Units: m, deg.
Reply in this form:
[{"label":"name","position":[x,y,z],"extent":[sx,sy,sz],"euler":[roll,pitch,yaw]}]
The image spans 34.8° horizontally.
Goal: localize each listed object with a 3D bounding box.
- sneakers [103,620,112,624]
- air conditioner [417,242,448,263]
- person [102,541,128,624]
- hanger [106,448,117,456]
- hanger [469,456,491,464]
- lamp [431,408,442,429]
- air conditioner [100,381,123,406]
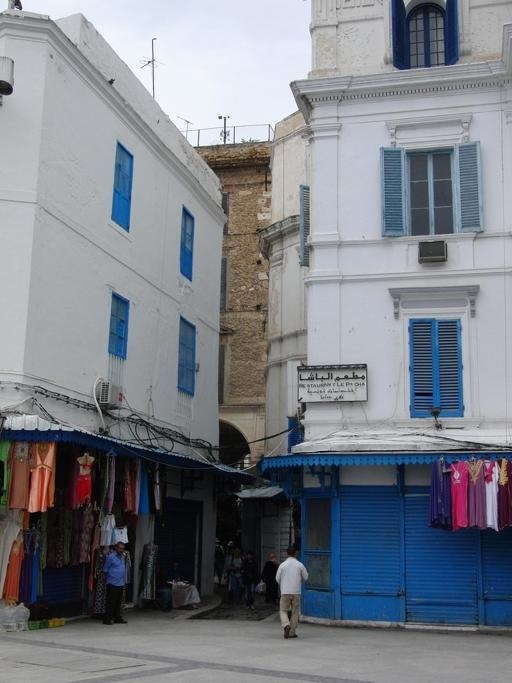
[{"label":"sneakers","position":[-2.394,4.508,13.093],"extent":[0.123,0.062,0.173],"euler":[3,-13,-17]},{"label":"air conditioner","position":[3.087,-1.570,14.276],"extent":[0.521,0.522,0.335],"euler":[-2,-16,20]},{"label":"person","position":[-2.354,4.006,13.544],"extent":[0.387,1.303,0.838],"euler":[2,-12,-9]},{"label":"hanger","position":[-2.341,1.765,13.053],"extent":[0.186,0.050,0.189],"euler":[2,-32,-4]},{"label":"hanger","position":[3.459,1.854,12.608],"extent":[0.319,0.131,0.283],"euler":[-4,-13,14]},{"label":"lamp","position":[3.038,1.309,13.725],"extent":[0.160,0.350,0.369],"euler":[-3,-13,15]},{"label":"air conditioner","position":[-2.611,0.954,14.482],"extent":[0.231,0.453,0.517],"euler":[-3,-13,15]}]
